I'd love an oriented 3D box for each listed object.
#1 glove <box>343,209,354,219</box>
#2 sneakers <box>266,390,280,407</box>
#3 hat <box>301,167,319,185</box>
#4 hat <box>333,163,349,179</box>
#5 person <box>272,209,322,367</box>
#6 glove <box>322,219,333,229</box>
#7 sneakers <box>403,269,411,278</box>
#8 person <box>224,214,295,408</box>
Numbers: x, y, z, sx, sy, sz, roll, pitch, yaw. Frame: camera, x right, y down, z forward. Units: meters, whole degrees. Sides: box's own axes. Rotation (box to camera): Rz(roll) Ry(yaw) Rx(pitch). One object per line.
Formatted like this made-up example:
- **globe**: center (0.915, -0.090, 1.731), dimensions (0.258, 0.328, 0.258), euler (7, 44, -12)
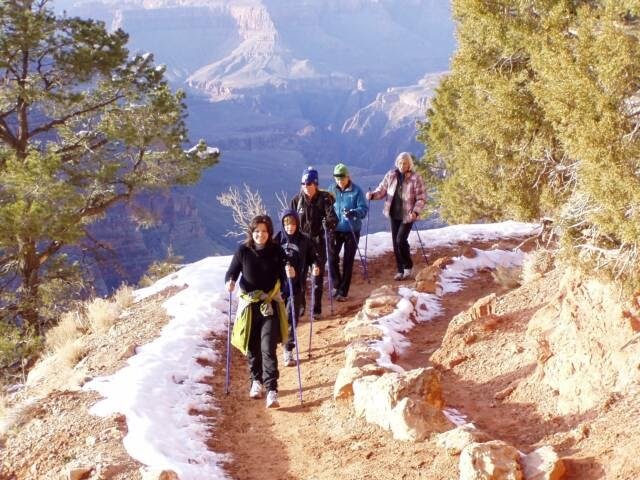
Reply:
- **glove**: center (0.590, -0.546, 12.336), dimensions (0.100, 0.187, 0.261), euler (13, 29, 38)
- **sneakers**: center (-0.723, 2.379, 9.504), dimensions (0.190, 0.234, 0.220), euler (-7, 22, -5)
- **hat**: center (-0.183, -1.214, 11.670), dimensions (0.240, 0.307, 0.353), euler (2, 0, -1)
- **hat**: center (0.414, -1.414, 12.481), dimensions (0.217, 0.248, 0.344), euler (1, 20, 6)
- **person**: center (-0.475, 0.791, 10.668), dimensions (0.938, 2.683, 0.927), euler (6, 10, 20)
- **glove**: center (0.167, -0.321, 11.680), dimensions (0.236, 0.211, 0.146), euler (-4, 21, 2)
- **sneakers**: center (1.978, 0.729, 14.214), dimensions (0.135, 0.191, 0.190), euler (-3, 6, 4)
- **person**: center (-0.906, 1.061, 9.562), dimensions (0.899, 2.634, 1.090), euler (-4, 20, -1)
